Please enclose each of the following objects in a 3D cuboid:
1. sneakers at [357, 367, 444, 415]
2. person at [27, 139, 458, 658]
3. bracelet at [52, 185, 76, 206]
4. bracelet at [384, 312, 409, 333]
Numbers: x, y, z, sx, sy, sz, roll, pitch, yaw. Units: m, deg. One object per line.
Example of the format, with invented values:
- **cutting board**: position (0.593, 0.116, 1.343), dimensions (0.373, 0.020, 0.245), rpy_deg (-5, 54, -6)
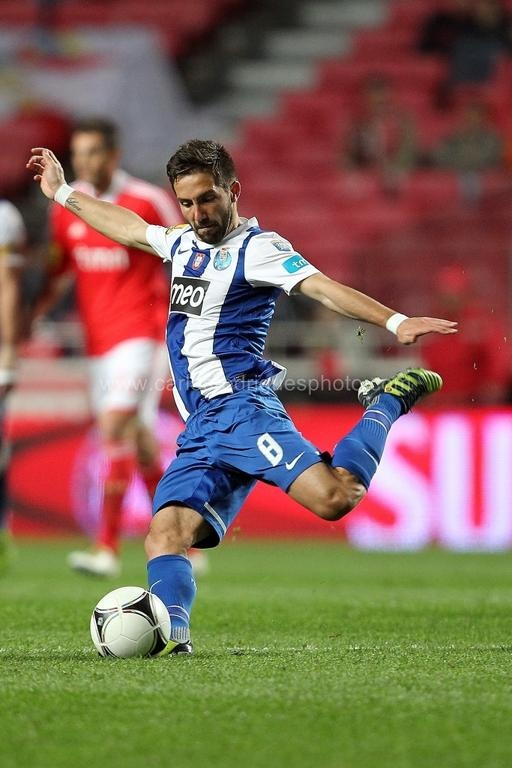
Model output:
- **sneakers**: position (0.501, 0.015, 3.070), dimensions (0.367, 0.103, 0.153), rpy_deg (-12, -7, -3)
- **person**: position (-0.082, 0.010, 2.698), dimensions (1.251, 1.457, 0.828), rpy_deg (8, 6, 8)
- **bracelet**: position (-0.665, -0.659, 3.147), dimensions (0.083, 0.077, 0.026), rpy_deg (37, 6, 28)
- **bracelet**: position (0.363, -0.161, 2.354), dimensions (0.046, 0.050, 0.057), rpy_deg (11, -7, -5)
